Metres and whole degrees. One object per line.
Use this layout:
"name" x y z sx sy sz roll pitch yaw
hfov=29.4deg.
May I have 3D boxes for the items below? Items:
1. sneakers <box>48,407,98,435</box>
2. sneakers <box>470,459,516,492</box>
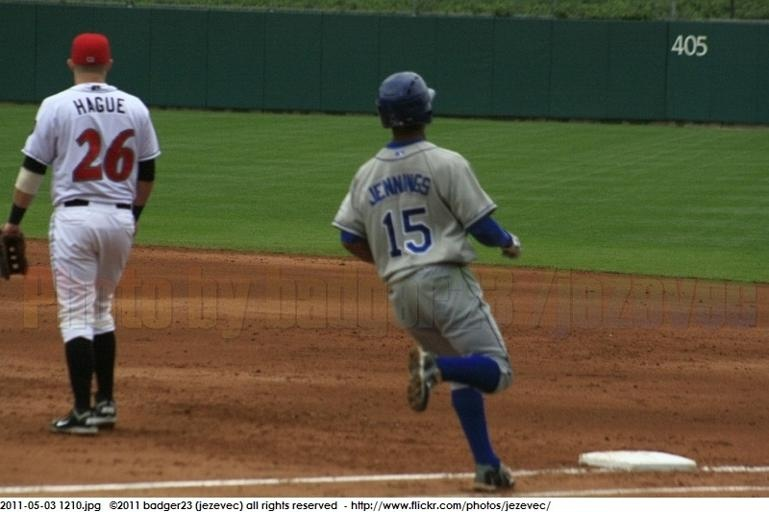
"sneakers" -3.821 2.034 17.980 0.593 0.239 0.267 2 -1 5
"sneakers" 1.308 2.640 17.537 0.231 0.249 0.620 2 0 38
